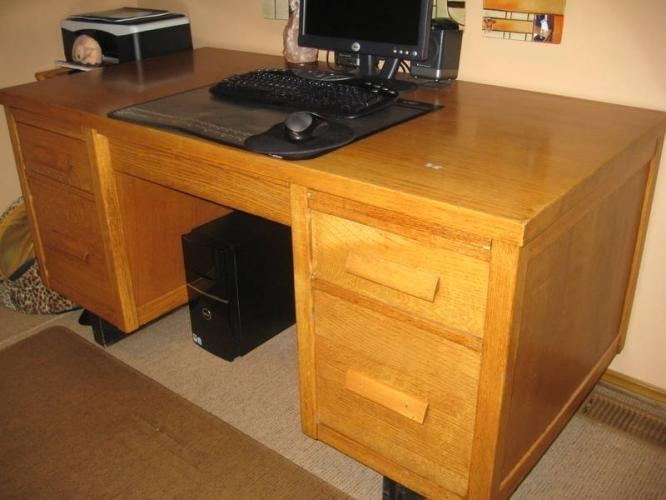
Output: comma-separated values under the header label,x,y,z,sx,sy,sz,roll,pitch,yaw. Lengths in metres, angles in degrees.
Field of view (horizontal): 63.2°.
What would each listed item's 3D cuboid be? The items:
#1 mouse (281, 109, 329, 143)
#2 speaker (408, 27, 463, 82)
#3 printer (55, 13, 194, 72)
label,x,y,z,sx,sy,sz,roll,pitch,yaw
mouse,-0.072,-0.281,1.214,0.065,0.028,0.089,31,49,27
speaker,0.320,-0.601,1.685,0.115,0.149,0.149,-25,40,-39
printer,-0.820,-0.840,2.216,0.462,0.251,0.419,18,29,27
